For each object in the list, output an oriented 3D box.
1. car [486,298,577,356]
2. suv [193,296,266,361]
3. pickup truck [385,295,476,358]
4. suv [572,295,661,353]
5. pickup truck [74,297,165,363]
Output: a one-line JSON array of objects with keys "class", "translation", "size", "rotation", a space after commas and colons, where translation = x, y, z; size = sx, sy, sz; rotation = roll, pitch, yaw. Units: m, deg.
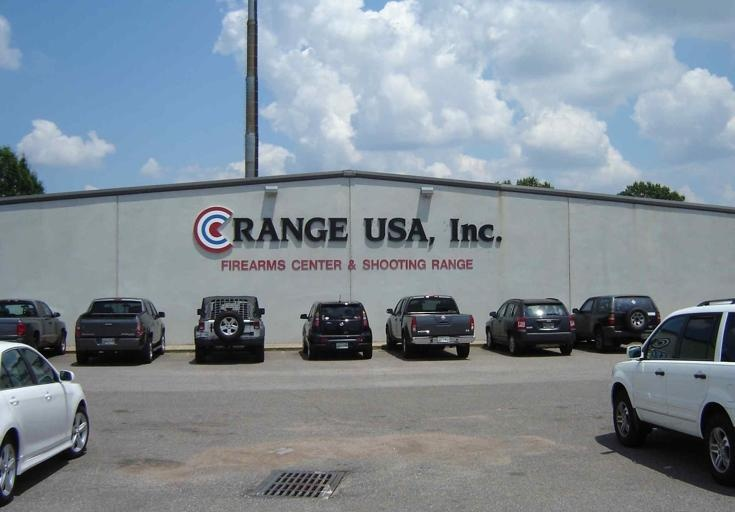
[{"class": "car", "translation": [6.063, 2.484, 25.042], "size": [3.105, 2.086, 4.176], "rotation": [0, 0, -21]}, {"class": "suv", "translation": [-4.464, 2.203, 21.856], "size": [1.397, 1.396, 2.700], "rotation": [0, 1, -5]}, {"class": "pickup truck", "translation": [2.111, 2.402, 23.979], "size": [2.081, 2.164, 3.613], "rotation": [0, 0, -12]}, {"class": "suv", "translation": [8.862, 2.278, 25.147], "size": [1.583, 1.503, 3.464], "rotation": [-1, 1, -7]}, {"class": "pickup truck", "translation": [-7.954, 2.359, 21.974], "size": [2.013, 2.061, 3.028], "rotation": [0, 0, -3]}]
